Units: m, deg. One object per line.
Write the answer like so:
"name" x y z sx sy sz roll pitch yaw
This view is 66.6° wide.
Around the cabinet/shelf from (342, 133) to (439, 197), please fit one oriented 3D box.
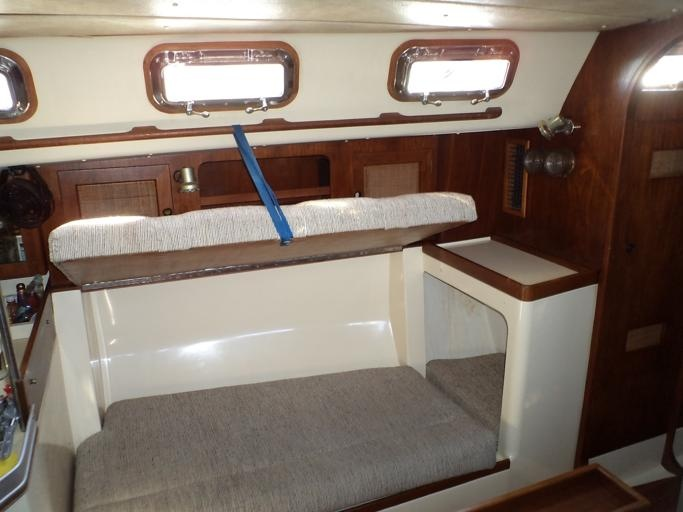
"cabinet/shelf" 0.398 -0.481 3.409 0.613 0.582 0.329 -4 7 -11
